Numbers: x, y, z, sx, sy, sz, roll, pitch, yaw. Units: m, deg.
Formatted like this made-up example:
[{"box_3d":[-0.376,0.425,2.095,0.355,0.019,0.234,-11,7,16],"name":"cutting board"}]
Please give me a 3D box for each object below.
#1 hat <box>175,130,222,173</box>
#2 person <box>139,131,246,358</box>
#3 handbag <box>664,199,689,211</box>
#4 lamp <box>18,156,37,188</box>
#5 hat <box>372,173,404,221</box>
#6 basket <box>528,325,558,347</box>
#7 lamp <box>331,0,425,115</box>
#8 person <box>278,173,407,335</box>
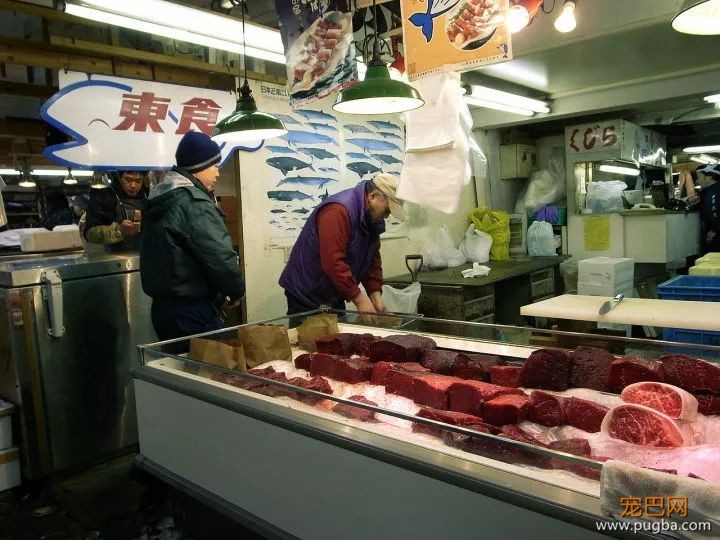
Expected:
[{"box_3d":[-0.991,-0.735,3.388,0.282,0.249,0.266,-8,28,-14],"name":"hat"},{"box_3d":[-1.045,-0.210,3.281,0.573,1.293,0.399,-7,7,-22],"name":"person"},{"box_3d":[4.583,-0.951,7.815,0.364,0.141,0.459,3,8,25],"name":"handbag"},{"box_3d":[-4.957,-1.492,7.994,0.190,0.496,0.962,-8,8,-30],"name":"lamp"},{"box_3d":[0.209,-0.494,3.533,0.178,0.313,0.397,-6,7,-15],"name":"hat"},{"box_3d":[0.838,0.316,2.452,0.106,0.070,0.177,-4,6,4],"name":"basket"},{"box_3d":[0.061,-1.165,2.839,0.417,0.617,0.490,-7,7,-24],"name":"lamp"},{"box_3d":[-0.121,-0.152,3.589,0.756,0.935,0.661,-6,7,-18],"name":"person"}]
